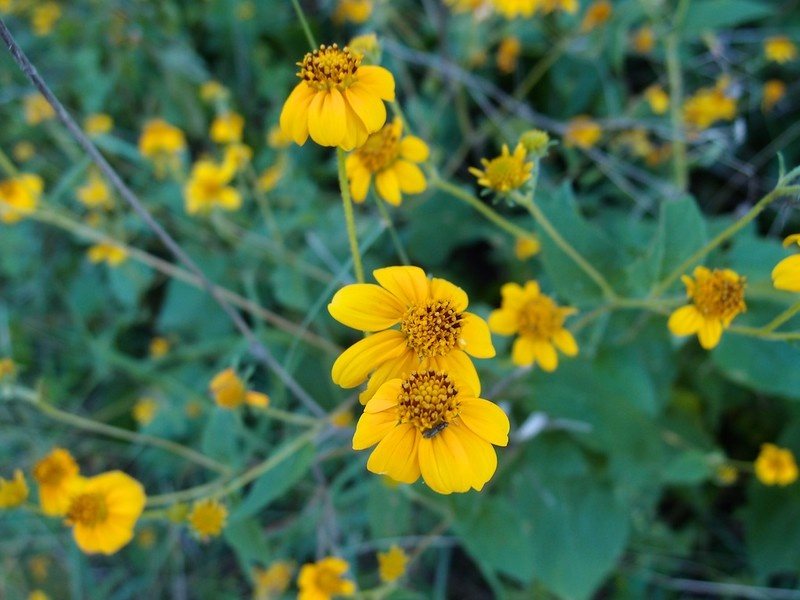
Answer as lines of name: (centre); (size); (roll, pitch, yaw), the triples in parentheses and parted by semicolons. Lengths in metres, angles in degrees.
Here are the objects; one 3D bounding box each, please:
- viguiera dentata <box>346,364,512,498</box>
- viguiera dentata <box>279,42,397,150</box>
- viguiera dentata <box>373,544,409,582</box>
viguiera dentata: (0.068, 0.216, 1.315); (0.273, 0.153, 0.305); (-3, 17, 38)
viguiera dentata: (-0.114, -0.401, 1.357); (0.238, 0.149, 0.239); (-24, 34, -25)
viguiera dentata: (-0.019, 0.621, 1.661); (0.076, 0.090, 0.074); (-26, 74, -2)
